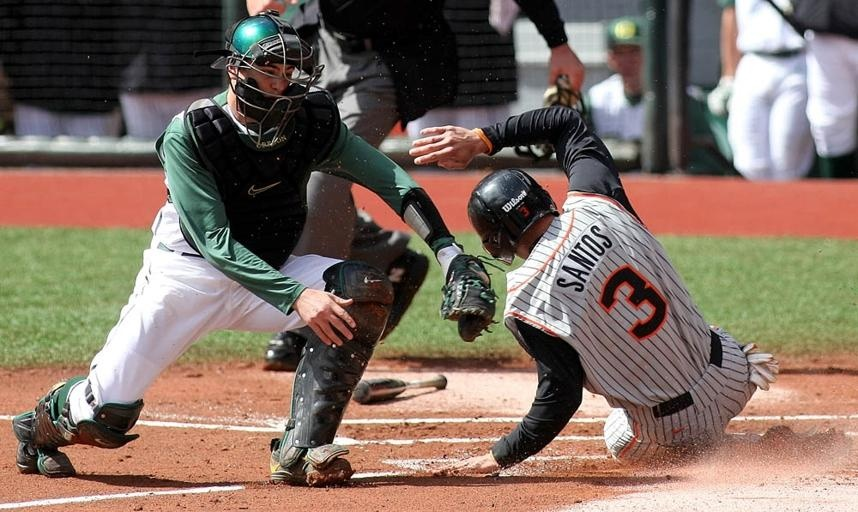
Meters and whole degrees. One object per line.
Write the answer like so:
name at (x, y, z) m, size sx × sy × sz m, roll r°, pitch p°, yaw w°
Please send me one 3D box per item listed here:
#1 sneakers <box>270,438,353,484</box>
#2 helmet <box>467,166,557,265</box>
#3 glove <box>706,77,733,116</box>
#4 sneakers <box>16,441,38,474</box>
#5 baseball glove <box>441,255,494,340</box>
sneakers at (-0.696, 1.216, 6.870) m, size 0.459 × 0.213 × 0.244 m, roll -3°, pitch -4°, yaw 23°
helmet at (0.439, -0.262, 6.896) m, size 0.453 × 0.507 × 0.547 m, roll -43°, pitch 21°, yaw -22°
glove at (2.552, -1.385, 10.071) m, size 0.126 × 0.267 × 0.170 m, roll 7°, pitch 10°, yaw -21°
sneakers at (-2.433, 1.220, 6.978) m, size 0.146 × 0.183 × 0.070 m, roll -13°, pitch 3°, yaw -4°
baseball glove at (0.226, 0.246, 6.762) m, size 0.314 × 0.471 × 0.332 m, roll 2°, pitch 11°, yaw -3°
